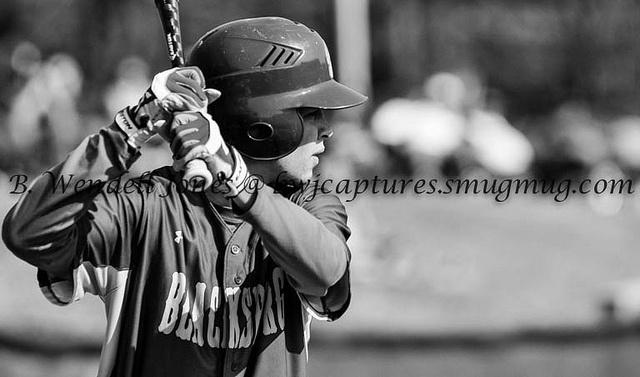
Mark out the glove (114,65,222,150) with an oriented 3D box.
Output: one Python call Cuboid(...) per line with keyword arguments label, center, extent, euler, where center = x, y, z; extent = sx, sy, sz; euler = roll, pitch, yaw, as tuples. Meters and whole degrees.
Cuboid(label="glove", center=(-1.427, -0.717, 13.977), extent=(0.614, 0.851, 0.415), euler=(40, -1, 22))
